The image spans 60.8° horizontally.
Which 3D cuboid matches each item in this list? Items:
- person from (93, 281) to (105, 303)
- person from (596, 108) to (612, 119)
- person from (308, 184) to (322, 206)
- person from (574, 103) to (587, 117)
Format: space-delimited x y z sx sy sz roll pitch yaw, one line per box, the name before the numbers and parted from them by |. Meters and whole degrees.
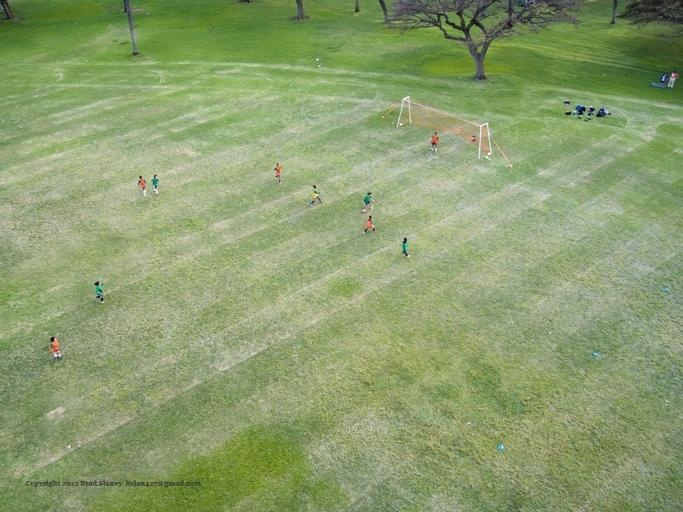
person | -16.511 2.458 39.316 0.719 1.477 0.788 29 39 24
person | 29.299 -15.705 64.663 1.501 0.762 1.944 18 27 34
person | -2.252 -5.017 48.597 1.730 2.062 0.732 1 72 1
person | 26.768 -16.281 65.052 1.291 0.988 1.693 -20 40 -23
